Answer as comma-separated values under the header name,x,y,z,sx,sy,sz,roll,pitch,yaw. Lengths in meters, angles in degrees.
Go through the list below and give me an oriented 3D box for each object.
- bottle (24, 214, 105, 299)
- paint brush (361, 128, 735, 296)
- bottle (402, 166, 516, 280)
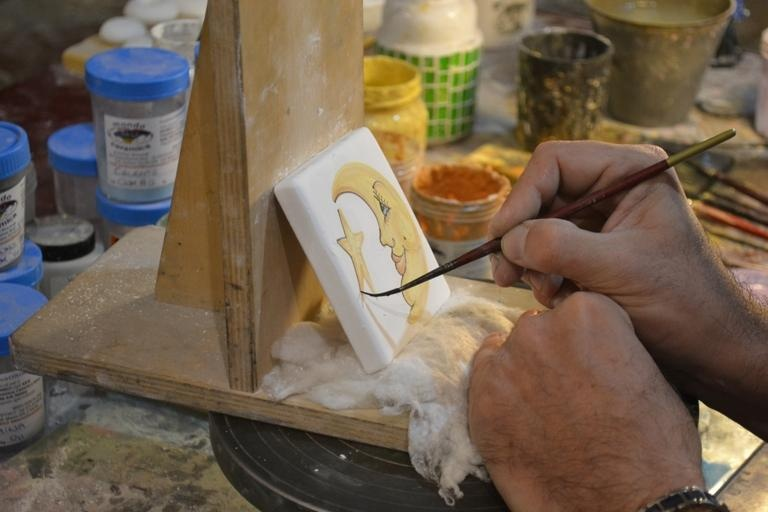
name,x,y,z,sx,sy,sz,roll,pitch,yaw
bottle,-0.739,-0.017,1.899,0.177,0.182,0.188,-5,35,-11
paint brush,0.323,-0.081,1.588,0.790,0.041,0.064,-30,-4,10
bottle,0.197,-0.122,1.946,0.229,0.227,0.277,-1,25,0
